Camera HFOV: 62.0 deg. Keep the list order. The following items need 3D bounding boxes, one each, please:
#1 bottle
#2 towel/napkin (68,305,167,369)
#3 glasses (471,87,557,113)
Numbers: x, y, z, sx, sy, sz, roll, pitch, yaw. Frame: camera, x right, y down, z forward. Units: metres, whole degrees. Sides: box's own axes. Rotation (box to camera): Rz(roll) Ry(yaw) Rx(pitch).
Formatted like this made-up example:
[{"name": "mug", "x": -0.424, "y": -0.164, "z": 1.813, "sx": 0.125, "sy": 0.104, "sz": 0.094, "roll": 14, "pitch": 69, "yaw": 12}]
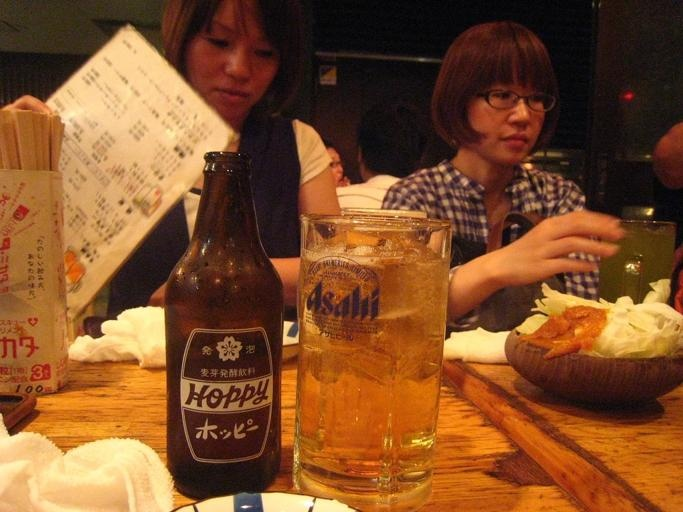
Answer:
[{"name": "bottle", "x": -0.181, "y": 0.111, "z": 0.875, "sx": 0.180, "sy": 0.524, "sz": 0.140, "roll": -1, "pitch": 14, "yaw": -9}, {"name": "towel/napkin", "x": -0.501, "y": 0.183, "z": 1.327, "sx": 0.204, "sy": 0.080, "sz": 0.247, "roll": 6, "pitch": 3, "yaw": 16}, {"name": "glasses", "x": 0.764, "y": -0.645, "z": 2.396, "sx": 0.390, "sy": 0.086, "sz": 0.128, "roll": -6, "pitch": 16, "yaw": -29}]
